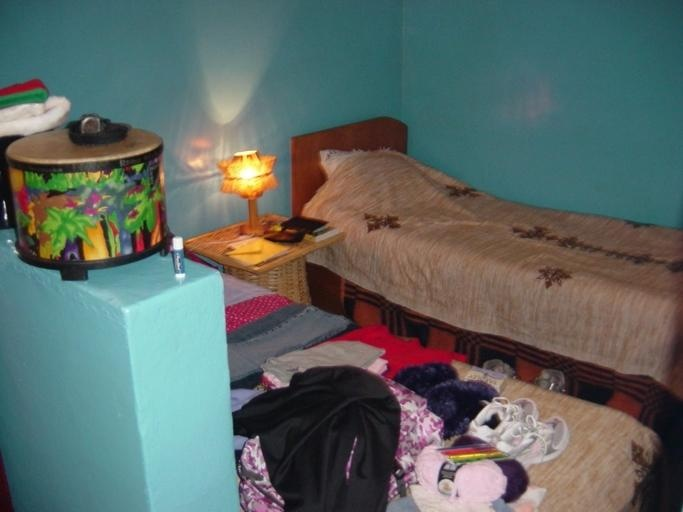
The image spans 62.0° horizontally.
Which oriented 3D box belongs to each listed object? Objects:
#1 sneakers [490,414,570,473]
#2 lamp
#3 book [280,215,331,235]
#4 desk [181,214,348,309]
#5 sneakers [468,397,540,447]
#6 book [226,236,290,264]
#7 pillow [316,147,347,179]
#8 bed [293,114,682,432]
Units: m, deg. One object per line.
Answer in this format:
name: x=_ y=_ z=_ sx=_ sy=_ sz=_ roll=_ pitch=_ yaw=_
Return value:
sneakers: x=0.720 y=0.673 z=2.112 sx=0.345 sy=0.133 sz=0.127 roll=-21 pitch=42 yaw=-28
lamp: x=-0.582 y=-0.404 z=3.576 sx=0.336 sy=0.510 sz=0.346 roll=0 pitch=13 yaw=-7
book: x=-0.235 y=-0.203 z=3.638 sx=0.168 sy=0.037 sz=0.167 roll=16 pitch=24 yaw=37
desk: x=-0.498 y=0.047 z=3.490 sx=0.651 sy=0.416 sz=0.632 roll=-17 pitch=24 yaw=-38
sneakers: x=0.594 y=0.604 z=2.134 sx=0.191 sy=0.061 sz=0.108 roll=13 pitch=-7 yaw=12
book: x=-0.486 y=-0.028 z=3.317 sx=0.200 sy=0.047 sz=0.204 roll=11 pitch=22 yaw=36
pillow: x=-0.079 y=-0.691 z=4.156 sx=0.189 sy=0.049 sz=0.209 roll=34 pitch=53 yaw=27
bed: x=0.848 y=-0.029 z=3.775 sx=2.344 sy=1.087 sz=1.492 roll=21 pitch=30 yaw=39
